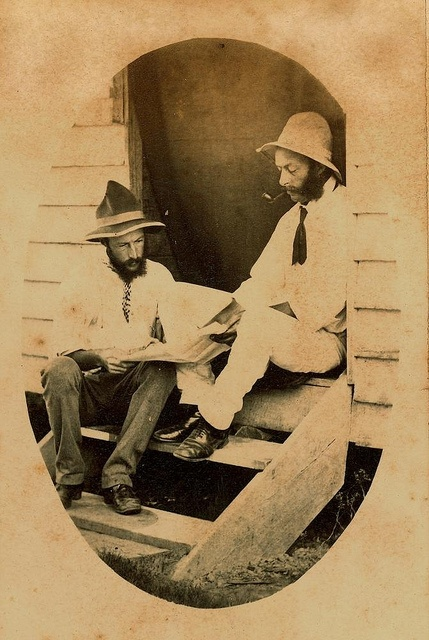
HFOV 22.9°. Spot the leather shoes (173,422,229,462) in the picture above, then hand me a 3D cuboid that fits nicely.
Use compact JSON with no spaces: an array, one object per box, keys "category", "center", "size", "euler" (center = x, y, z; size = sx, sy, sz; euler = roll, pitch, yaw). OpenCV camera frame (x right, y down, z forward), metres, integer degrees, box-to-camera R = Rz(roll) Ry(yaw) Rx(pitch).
[{"category":"leather shoes","center":[-0.042,0.474,4.079],"size":[0.248,0.113,0.095],"euler":[-34,63,-23]}]

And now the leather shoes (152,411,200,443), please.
[{"category":"leather shoes","center":[-0.140,0.421,4.105],"size":[0.251,0.084,0.076],"euler":[1,4,-7]}]

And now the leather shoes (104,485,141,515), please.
[{"category":"leather shoes","center":[-0.353,0.700,4.111],"size":[0.079,0.062,0.167],"euler":[-14,13,-40]}]
